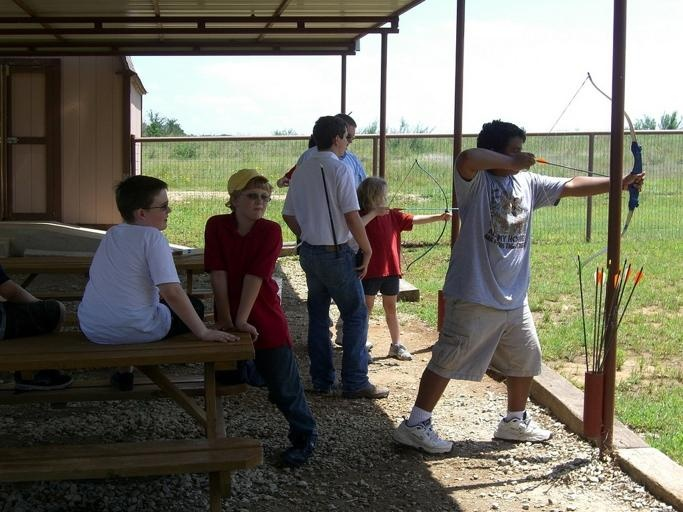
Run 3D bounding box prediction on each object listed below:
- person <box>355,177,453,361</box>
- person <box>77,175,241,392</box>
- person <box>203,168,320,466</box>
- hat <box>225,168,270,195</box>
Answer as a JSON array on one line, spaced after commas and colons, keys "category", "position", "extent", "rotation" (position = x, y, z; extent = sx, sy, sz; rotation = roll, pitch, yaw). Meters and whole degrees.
[{"category": "person", "position": [0.408, -0.055, 5.775], "extent": [0.587, 1.887, 0.719], "rotation": [-1, 1, -28]}, {"category": "person", "position": [-1.088, 0.038, 4.056], "extent": [1.139, 1.294, 0.927], "rotation": [10, 7, 34]}, {"category": "person", "position": [-0.591, 0.363, 4.091], "extent": [0.619, 1.790, 0.593], "rotation": [3, 6, 25]}, {"category": "hat", "position": [-0.578, -0.443, 3.972], "extent": [0.201, 0.086, 0.150], "rotation": [-25, 6, 24]}]
